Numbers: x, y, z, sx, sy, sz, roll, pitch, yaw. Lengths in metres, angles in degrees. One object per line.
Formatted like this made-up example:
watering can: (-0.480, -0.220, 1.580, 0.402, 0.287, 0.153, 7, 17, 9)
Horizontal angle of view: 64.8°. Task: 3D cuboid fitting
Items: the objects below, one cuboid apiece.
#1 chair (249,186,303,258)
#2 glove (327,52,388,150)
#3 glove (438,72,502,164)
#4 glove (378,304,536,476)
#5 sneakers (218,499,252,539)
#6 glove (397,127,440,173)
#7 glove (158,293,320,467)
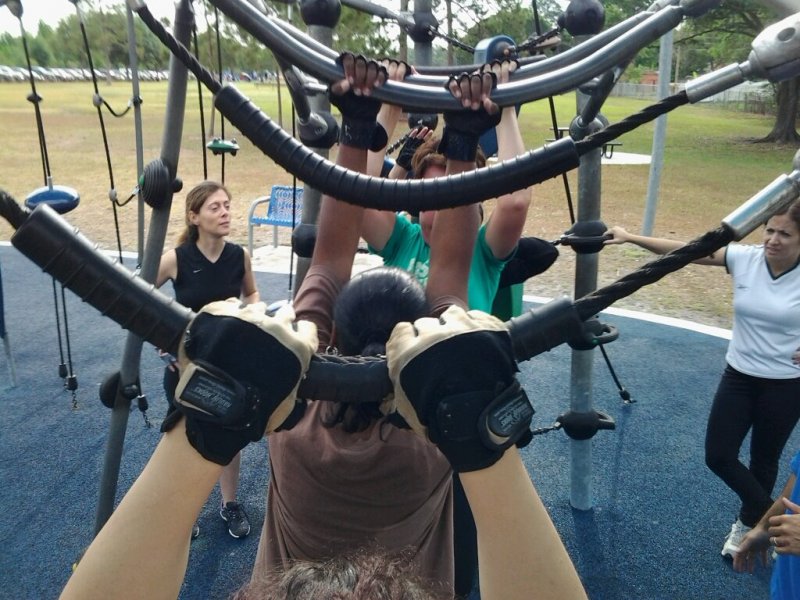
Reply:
chair: (-1.789, -1.174, 9.328, 0.705, 0.995, 0.703, 8, 17, 21)
glove: (-0.118, -0.571, 1.814, 0.134, 0.225, 0.087, 8, 33, 0)
glove: (0.196, -0.524, 1.817, 0.142, 0.233, 0.088, 20, 35, -1)
glove: (0.118, 0.189, 1.437, 0.301, 0.312, 0.244, -6, 23, -7)
sneakers: (-1.024, 1.327, 3.922, 0.123, 0.127, 0.274, -16, 46, -32)
glove: (0.078, -0.665, 2.851, 0.202, 0.124, 0.335, 28, 22, -9)
glove: (-0.354, 0.187, 1.468, 0.264, 0.374, 0.177, 28, 1, -1)
